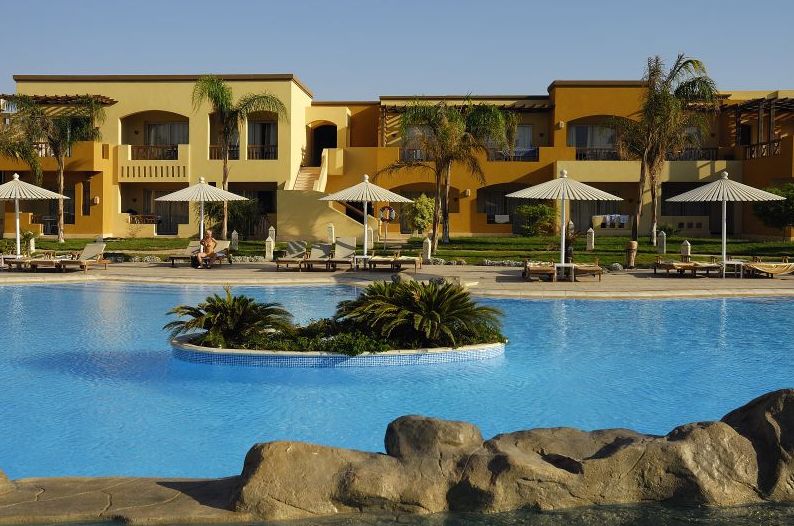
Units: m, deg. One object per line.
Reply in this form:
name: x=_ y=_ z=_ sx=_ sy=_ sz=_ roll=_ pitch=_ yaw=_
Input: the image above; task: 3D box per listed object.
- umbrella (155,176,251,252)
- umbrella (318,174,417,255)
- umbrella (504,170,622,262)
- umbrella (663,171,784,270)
umbrella: x=-7.708 y=-1.734 z=44.342 sx=2.926 sy=3.331 sz=3.482 roll=6 pitch=10 yaw=44
umbrella: x=-1.262 y=-2.586 z=43.607 sx=3.731 sy=3.659 sz=3.379 roll=0 pitch=2 yaw=-3
umbrella: x=5.813 y=-2.524 z=40.026 sx=4.456 sy=4.107 sz=4.141 roll=0 pitch=5 yaw=-5
umbrella: x=11.902 y=-2.507 z=41.401 sx=4.225 sy=4.754 sz=4.269 roll=-6 pitch=5 yaw=-39
